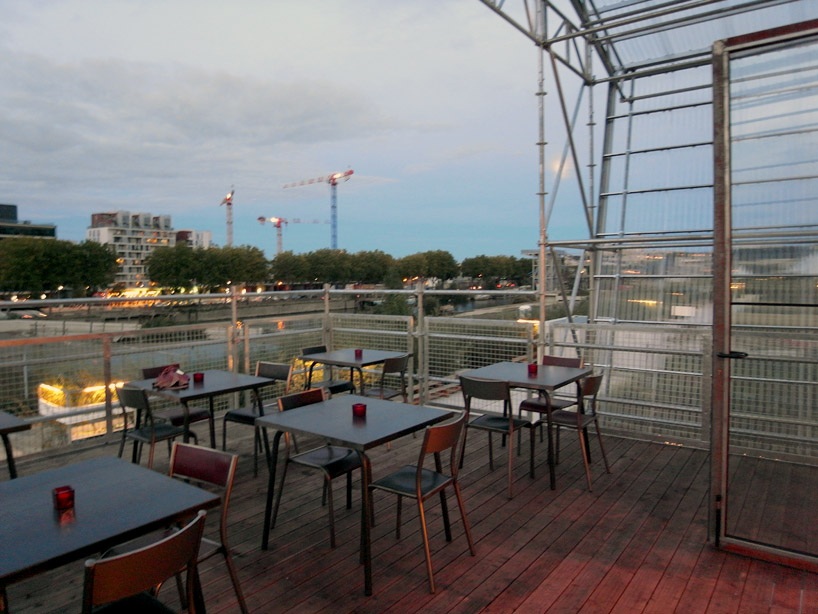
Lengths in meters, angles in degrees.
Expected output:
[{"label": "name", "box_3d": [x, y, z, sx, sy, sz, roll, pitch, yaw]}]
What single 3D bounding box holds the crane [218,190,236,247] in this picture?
[{"label": "crane", "box_3d": [-43.846, -21.834, 133.983, 2.610, 12.110, 14.060, -3, 8, -18]}]
